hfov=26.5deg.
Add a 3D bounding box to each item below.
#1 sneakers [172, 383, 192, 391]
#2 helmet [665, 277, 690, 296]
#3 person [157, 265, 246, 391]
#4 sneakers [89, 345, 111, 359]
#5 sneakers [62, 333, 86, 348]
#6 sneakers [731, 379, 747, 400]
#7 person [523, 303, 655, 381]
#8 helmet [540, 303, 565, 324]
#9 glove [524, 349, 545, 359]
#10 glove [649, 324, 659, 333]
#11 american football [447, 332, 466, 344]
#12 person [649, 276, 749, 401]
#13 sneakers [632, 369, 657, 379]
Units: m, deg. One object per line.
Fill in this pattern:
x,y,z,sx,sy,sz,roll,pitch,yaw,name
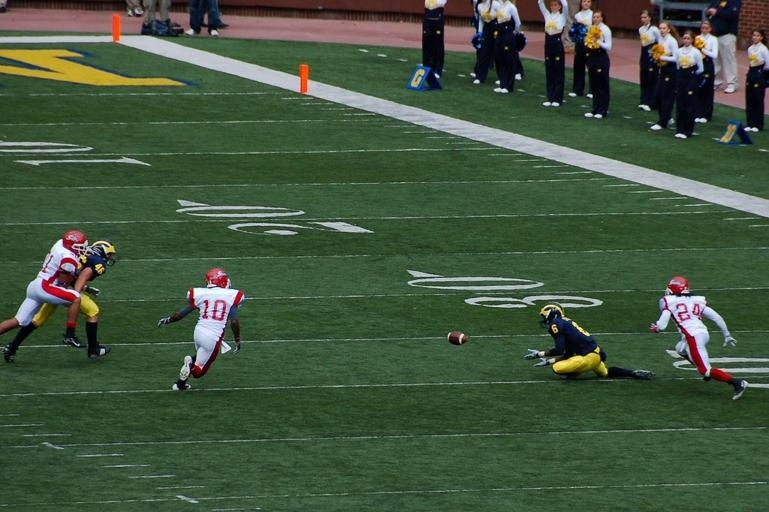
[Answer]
-2.537,1.647,20.430,0.301,0.059,0.100,0,-5,-12,sneakers
3.685,0.381,20.845,0.358,0.195,0.274,13,15,38,helmet
-2.220,0.942,20.411,0.867,1.522,0.667,1,12,-5,person
-3.595,1.244,21.134,0.405,0.099,0.136,-4,-28,-22,sneakers
-3.926,1.113,21.132,0.431,0.155,0.106,11,52,-12,sneakers
4.414,1.686,20.415,0.205,0.323,0.113,11,50,3,sneakers
2.520,1.109,20.805,1.436,0.975,0.461,2,12,1,person
2.049,0.725,20.833,0.392,0.200,0.250,6,7,18,helmet
1.894,1.260,20.759,0.228,0.036,0.174,2,8,5,glove
3.336,0.915,20.396,0.140,0.067,0.172,1,9,3,glove
0.891,1.046,20.739,0.254,0.094,0.152,5,9,45,american football
3.982,1.040,20.638,1.217,1.463,0.787,3,12,9,person
3.284,1.513,20.825,0.235,0.067,0.141,-2,11,-20,sneakers
